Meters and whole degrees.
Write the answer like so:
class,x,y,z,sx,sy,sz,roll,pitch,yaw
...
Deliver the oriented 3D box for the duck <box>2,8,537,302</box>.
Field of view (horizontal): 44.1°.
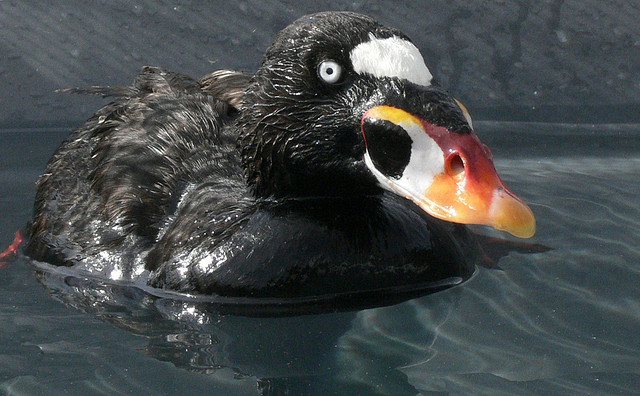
class,x,y,z,sx,sy,sz,roll,pitch,yaw
duck,-0.217,-0.266,4.547,2.813,1.620,1.079,9,20,10
